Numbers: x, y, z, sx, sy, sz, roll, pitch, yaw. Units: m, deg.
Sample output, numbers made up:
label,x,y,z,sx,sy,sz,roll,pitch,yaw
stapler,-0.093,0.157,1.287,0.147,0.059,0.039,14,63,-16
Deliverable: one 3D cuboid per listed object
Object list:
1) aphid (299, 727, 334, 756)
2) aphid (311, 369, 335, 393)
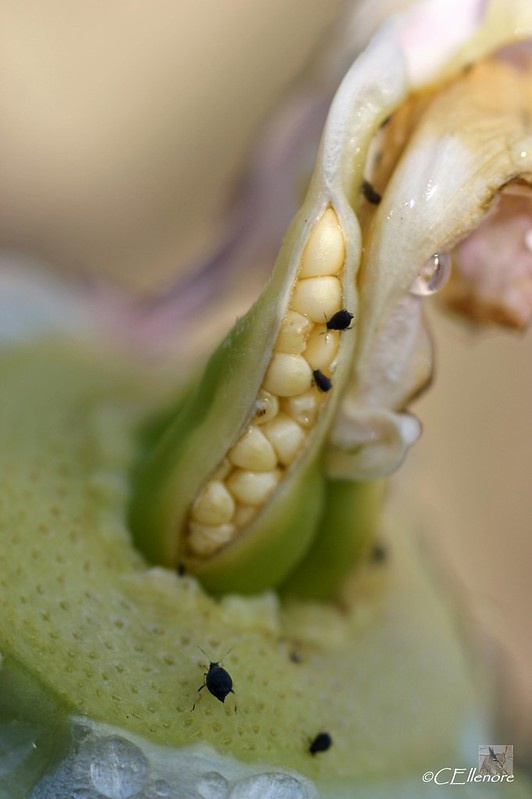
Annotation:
label,x,y,z,sx,sy,sz,roll,pitch,yaw
aphid,0.038,0.259,0.625,0.021,0.009,0.012,-40,90,-28
aphid,0.041,-0.014,0.622,0.013,0.020,0.010,-13,57,-3
